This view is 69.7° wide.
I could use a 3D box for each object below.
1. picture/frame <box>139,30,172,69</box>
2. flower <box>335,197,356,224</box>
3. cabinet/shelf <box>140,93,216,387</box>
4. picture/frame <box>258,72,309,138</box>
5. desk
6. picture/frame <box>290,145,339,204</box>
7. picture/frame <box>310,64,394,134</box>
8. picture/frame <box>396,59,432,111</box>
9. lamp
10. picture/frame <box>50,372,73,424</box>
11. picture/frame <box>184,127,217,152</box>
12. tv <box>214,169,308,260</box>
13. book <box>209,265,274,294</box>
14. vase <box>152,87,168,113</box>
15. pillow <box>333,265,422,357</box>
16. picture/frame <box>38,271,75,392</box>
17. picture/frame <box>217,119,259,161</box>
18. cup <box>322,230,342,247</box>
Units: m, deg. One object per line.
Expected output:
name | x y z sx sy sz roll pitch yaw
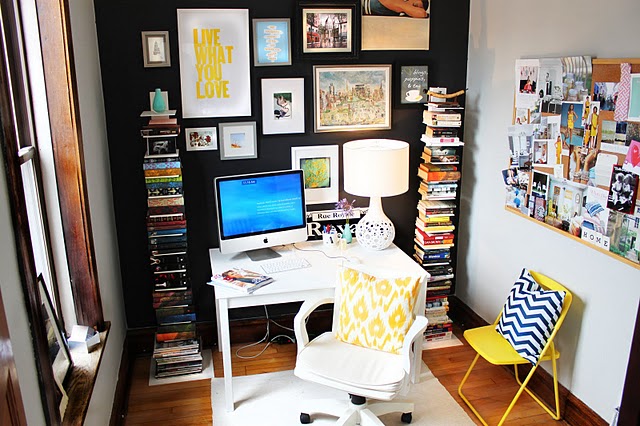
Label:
picture/frame | -1.314 -1.327 3.648 0.280 0.372 0.038 -3 12 -15
flower | 0.228 -0.054 4.115 0.193 0.263 0.238 -1 13 -15
cabinet/shelf | -1.283 0.203 3.715 0.548 2.313 0.688 -10 18 -16
picture/frame | -0.327 -0.960 3.927 0.523 0.634 0.045 -2 12 -6
desk | -0.239 0.408 3.904 1.989 1.268 1.107 -6 19 -16
picture/frame | -0.064 -0.374 4.039 0.499 0.632 0.029 -3 16 -9
picture/frame | 0.251 -1.039 4.016 0.592 0.492 0.026 -2 13 -10
picture/frame | 0.825 -1.173 4.072 0.448 0.606 0.040 -1 5 -13
lamp | 0.488 -0.165 3.981 0.559 0.896 0.471 -10 19 -16
picture/frame | -1.382 0.988 2.460 0.072 0.270 0.285 -5 -13 -14
picture/frame | -1.011 -0.638 3.852 0.201 0.172 0.009 -1 9 -13
tv | -0.488 0.009 3.780 0.651 0.649 0.220 -7 14 -20
book | -0.583 0.499 3.476 0.440 0.083 0.259 2 20 20
vase | -1.271 -0.910 3.649 0.124 0.183 0.221 -10 19 -16
pillow | 0.393 0.722 3.415 0.638 0.531 0.305 4 12 32
picture/frame | -1.534 0.641 2.655 0.090 0.657 0.389 -14 20 -28
picture/frame | -0.709 -0.644 3.903 0.344 0.345 0.025 -1 11 -12
cup | 0.104 0.213 4.036 0.167 0.119 0.111 -2 13 -3
